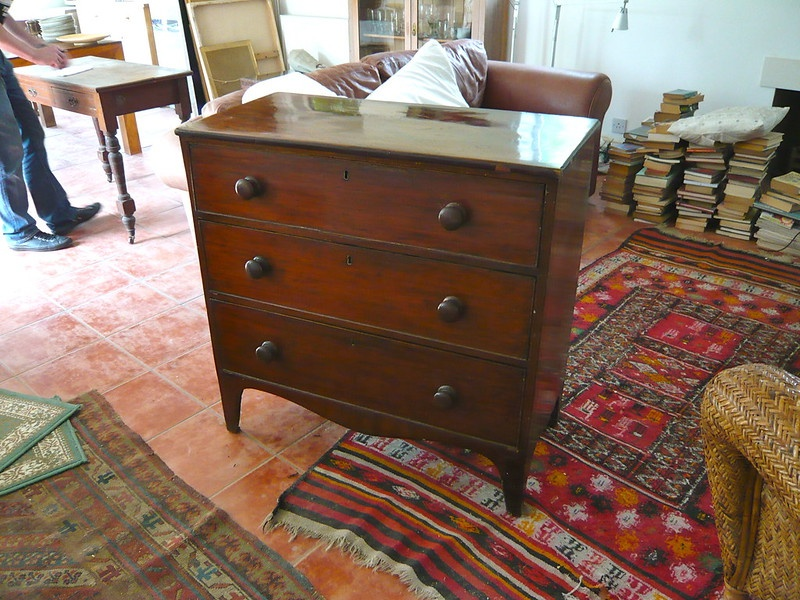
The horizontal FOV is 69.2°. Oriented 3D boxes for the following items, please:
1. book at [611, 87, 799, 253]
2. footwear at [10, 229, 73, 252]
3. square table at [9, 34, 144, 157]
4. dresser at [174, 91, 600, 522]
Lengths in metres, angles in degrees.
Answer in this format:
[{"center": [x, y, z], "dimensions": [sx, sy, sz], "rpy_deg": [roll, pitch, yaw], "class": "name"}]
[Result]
[{"center": [2.053, -0.897, 3.918], "dimensions": [1.117, 0.484, 1.220], "rpy_deg": [14, 35, 29], "class": "book"}, {"center": [-2.215, -0.378, 3.648], "dimensions": [0.430, 0.121, 0.126], "rpy_deg": [-2, 30, -7], "class": "footwear"}, {"center": [-2.986, -1.771, 5.323], "dimensions": [1.207, 0.535, 0.305], "rpy_deg": [13, 46, 16], "class": "square table"}, {"center": [-0.030, 0.003, 2.037], "dimensions": [1.333, 1.261, 0.683], "rpy_deg": [13, 38, 20], "class": "dresser"}]
